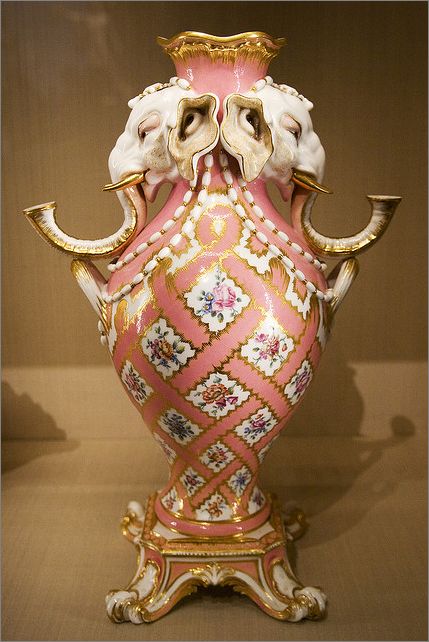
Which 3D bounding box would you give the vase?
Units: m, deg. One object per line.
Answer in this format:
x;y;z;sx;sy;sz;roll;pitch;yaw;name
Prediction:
-0.010;0.035;1.141;0.536;0.984;0.342;1;19;-9;vase
